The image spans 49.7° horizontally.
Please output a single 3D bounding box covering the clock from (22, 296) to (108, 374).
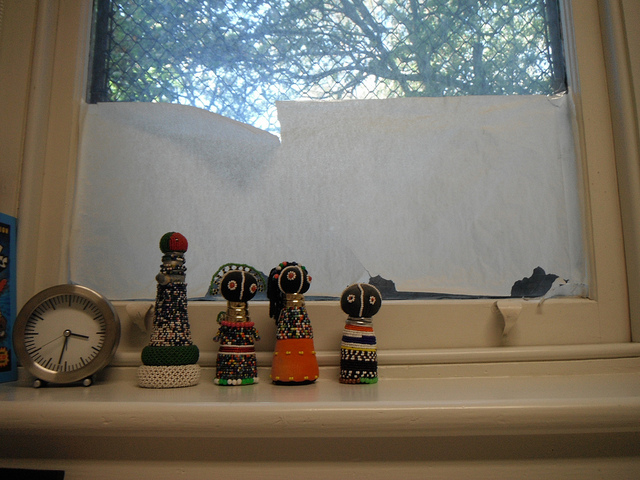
[{"bbox_3d":[-0.625,0.236,1.686,0.168,0.157,0.028,12,-6,4],"label":"clock"}]

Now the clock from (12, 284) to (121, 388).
[{"bbox_3d":[-0.625,0.244,1.696,0.241,0.255,0.081,2,-12,-5],"label":"clock"}]
